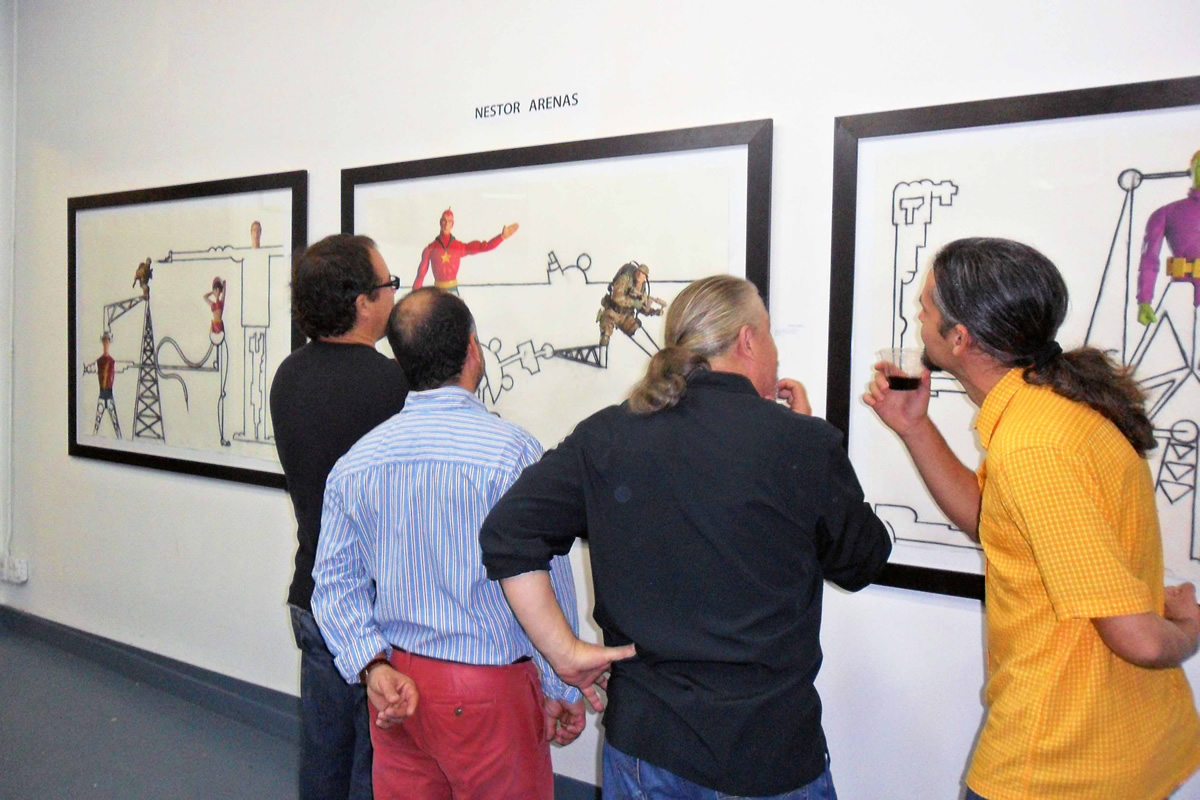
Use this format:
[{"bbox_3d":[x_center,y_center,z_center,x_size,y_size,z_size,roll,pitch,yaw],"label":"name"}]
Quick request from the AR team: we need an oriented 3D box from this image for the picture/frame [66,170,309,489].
[{"bbox_3d":[-1.958,-0.364,4.307,1.521,1.201,0.029,4,7,31],"label":"picture/frame"}]

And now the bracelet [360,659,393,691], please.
[{"bbox_3d":[-0.685,0.805,2.697,0.090,0.090,0.034,-19,22,-10],"label":"bracelet"}]
